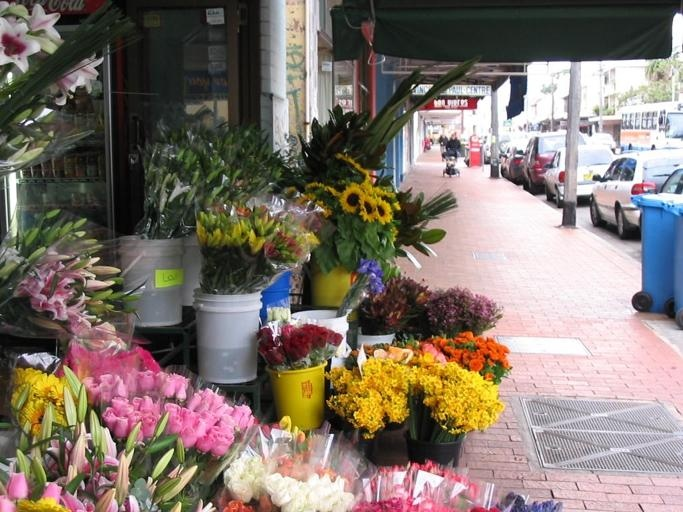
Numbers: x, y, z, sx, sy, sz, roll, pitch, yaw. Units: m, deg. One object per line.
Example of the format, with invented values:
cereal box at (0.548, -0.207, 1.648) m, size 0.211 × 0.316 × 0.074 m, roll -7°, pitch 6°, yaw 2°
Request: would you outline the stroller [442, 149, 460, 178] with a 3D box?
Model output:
stroller at (6.454, -5.224, 31.336) m, size 0.908 × 1.222 × 2.274 m, roll -1°, pitch 2°, yaw 4°
